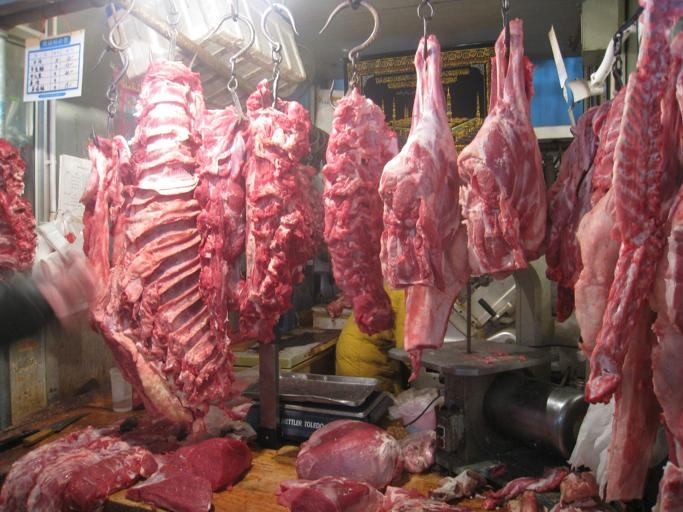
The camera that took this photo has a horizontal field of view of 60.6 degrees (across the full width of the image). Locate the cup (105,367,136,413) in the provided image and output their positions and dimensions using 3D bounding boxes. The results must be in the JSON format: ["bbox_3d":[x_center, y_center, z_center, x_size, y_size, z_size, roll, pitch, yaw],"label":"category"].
[{"bbox_3d":[-1.178,0.708,3.140,0.107,0.253,0.284,-2,0,-21],"label":"cup"}]

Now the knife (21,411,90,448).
[{"bbox_3d":[-1.423,0.846,2.892,0.055,0.023,0.283,4,6,8],"label":"knife"}]
